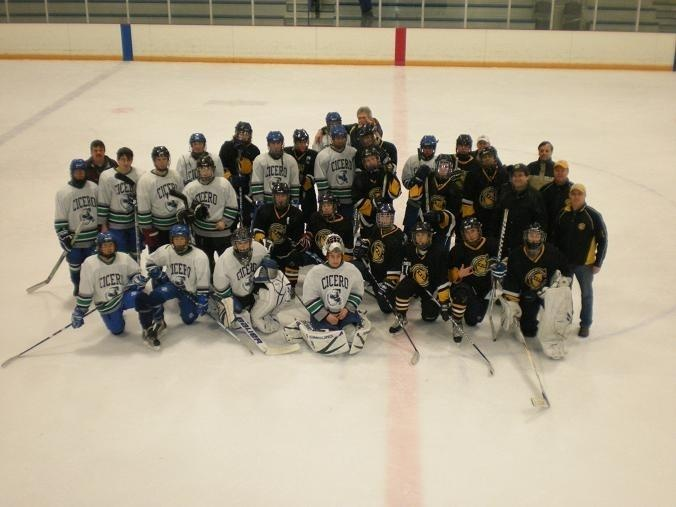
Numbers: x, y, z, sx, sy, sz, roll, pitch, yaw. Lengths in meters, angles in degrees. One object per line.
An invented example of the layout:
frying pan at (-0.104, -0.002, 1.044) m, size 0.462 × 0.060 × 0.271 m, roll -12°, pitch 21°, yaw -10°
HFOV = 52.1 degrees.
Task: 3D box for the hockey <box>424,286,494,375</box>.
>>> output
hockey at (1.278, 0.813, 7.298) m, size 0.176 × 0.134 × 1.186 m, roll -35°, pitch 47°, yaw -3°

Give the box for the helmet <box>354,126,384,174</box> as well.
helmet at (0.314, -1.309, 8.411) m, size 0.343 × 0.303 × 0.566 m, roll -18°, pitch 38°, yaw 18°

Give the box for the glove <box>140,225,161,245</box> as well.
glove at (-2.232, -0.214, 8.208) m, size 0.164 × 0.209 × 0.209 m, roll -10°, pitch 42°, yaw -23°

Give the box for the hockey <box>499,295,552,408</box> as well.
hockey at (1.908, 1.069, 6.988) m, size 0.302 × 0.276 × 1.001 m, roll -17°, pitch 52°, yaw 9°

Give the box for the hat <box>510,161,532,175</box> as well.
hat at (2.001, -0.910, 7.601) m, size 0.162 × 0.153 × 0.189 m, roll -20°, pitch 4°, yaw 7°

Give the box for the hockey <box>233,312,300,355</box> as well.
hockey at (-0.787, 0.867, 7.361) m, size 0.113 × 0.172 × 0.788 m, roll -2°, pitch 24°, yaw -34°

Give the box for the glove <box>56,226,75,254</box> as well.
glove at (-3.086, -0.157, 7.896) m, size 0.198 × 0.262 × 0.234 m, roll -13°, pitch 2°, yaw -15°

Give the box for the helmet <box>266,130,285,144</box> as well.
helmet at (-0.751, -1.405, 8.449) m, size 0.177 × 0.186 × 0.206 m, roll -4°, pitch 9°, yaw -9°

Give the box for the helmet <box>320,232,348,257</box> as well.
helmet at (-0.043, -0.092, 7.272) m, size 0.188 × 0.208 × 0.255 m, roll -1°, pitch 30°, yaw -11°

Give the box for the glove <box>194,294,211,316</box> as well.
glove at (-1.436, 0.544, 7.443) m, size 0.208 × 0.214 × 0.082 m, roll 7°, pitch 11°, yaw 42°

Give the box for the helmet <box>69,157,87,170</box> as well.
helmet at (-2.988, -1.010, 7.929) m, size 0.134 × 0.169 × 0.179 m, roll 0°, pitch -18°, yaw -17°

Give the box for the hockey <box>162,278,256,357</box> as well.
hockey at (-1.362, 0.686, 7.392) m, size 1.190 × 0.409 × 0.240 m, roll 30°, pitch 18°, yaw 25°

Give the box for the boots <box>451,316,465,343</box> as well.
boots at (1.301, 0.811, 7.312) m, size 0.099 × 0.311 × 0.215 m, roll -1°, pitch -5°, yaw 8°

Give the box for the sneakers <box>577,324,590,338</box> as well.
sneakers at (2.652, 0.820, 7.456) m, size 0.120 × 0.136 × 0.128 m, roll 6°, pitch 17°, yaw 20°

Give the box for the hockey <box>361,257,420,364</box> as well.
hockey at (0.586, 0.628, 7.503) m, size 0.171 × 0.171 × 1.209 m, roll -12°, pitch 64°, yaw -52°

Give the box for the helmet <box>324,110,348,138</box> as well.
helmet at (-0.052, -1.655, 8.868) m, size 0.323 × 0.421 × 0.410 m, roll -5°, pitch 9°, yaw -9°

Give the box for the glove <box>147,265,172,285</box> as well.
glove at (-1.943, 0.226, 7.418) m, size 0.105 × 0.173 × 0.245 m, roll -16°, pitch -32°, yaw 32°

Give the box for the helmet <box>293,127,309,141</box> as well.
helmet at (-0.469, -1.450, 8.731) m, size 0.172 × 0.208 × 0.203 m, roll 1°, pitch 38°, yaw -7°

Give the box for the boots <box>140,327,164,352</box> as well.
boots at (-1.928, 0.886, 7.182) m, size 0.115 × 0.132 × 0.285 m, roll -14°, pitch 23°, yaw -37°

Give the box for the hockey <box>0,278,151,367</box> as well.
hockey at (-2.763, 0.769, 7.365) m, size 1.391 × 0.066 × 0.159 m, roll -37°, pitch 76°, yaw -26°

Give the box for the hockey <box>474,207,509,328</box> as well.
hockey at (1.736, 0.262, 7.414) m, size 0.234 × 1.259 × 0.203 m, roll 5°, pitch 7°, yaw 22°

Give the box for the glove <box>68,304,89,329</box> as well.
glove at (-2.688, 0.649, 7.174) m, size 0.173 × 0.288 × 0.130 m, roll 6°, pitch 3°, yaw -2°

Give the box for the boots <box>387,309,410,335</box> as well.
boots at (0.662, 0.735, 7.525) m, size 0.237 × 0.238 × 0.148 m, roll -5°, pitch 17°, yaw -14°
